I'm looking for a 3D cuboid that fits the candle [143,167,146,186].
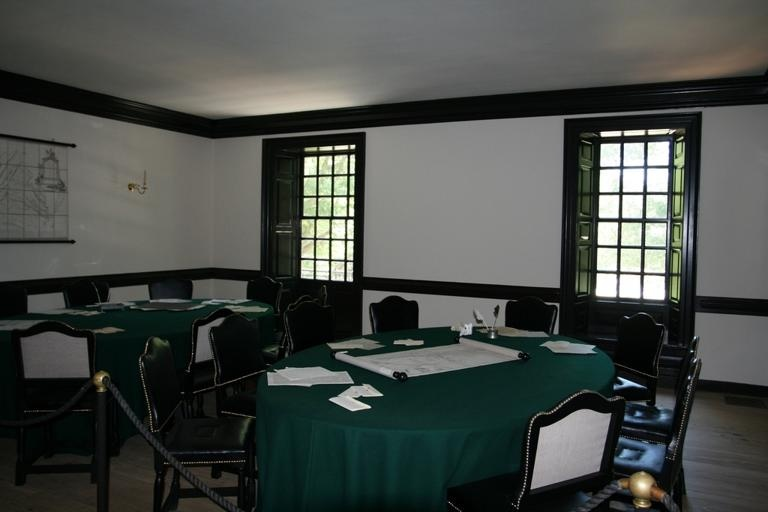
[{"bbox_3d":[-3.599,-1.162,8.053,0.021,0.248,0.090,1,1,19],"label":"candle"}]
